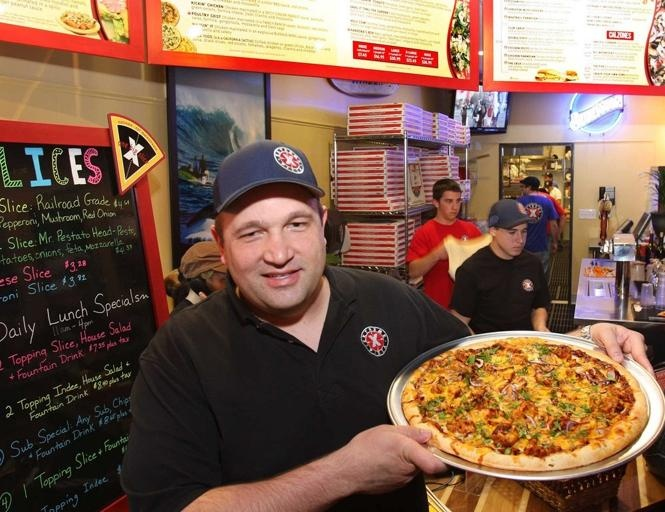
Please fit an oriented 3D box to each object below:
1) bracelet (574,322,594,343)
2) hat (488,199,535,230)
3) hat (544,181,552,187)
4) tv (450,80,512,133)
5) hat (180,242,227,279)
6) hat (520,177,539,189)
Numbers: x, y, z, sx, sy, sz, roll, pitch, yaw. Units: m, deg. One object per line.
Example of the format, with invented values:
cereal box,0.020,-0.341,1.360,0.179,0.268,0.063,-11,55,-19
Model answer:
bracelet,0.932,0.284,1.753,0.038,0.057,0.073,3,21,-39
hat,1.212,-0.283,3.289,0.196,0.157,0.281,-7,6,-5
hat,4.009,-1.324,8.782,0.096,0.112,0.128,-2,-12,19
tv,2.516,-2.413,7.931,1.143,0.686,0.382,-4,15,-36
hat,-0.803,0.012,3.032,0.383,0.164,0.284,5,16,10
hat,3.032,-1.118,7.341,0.186,0.143,0.252,-13,40,-38
